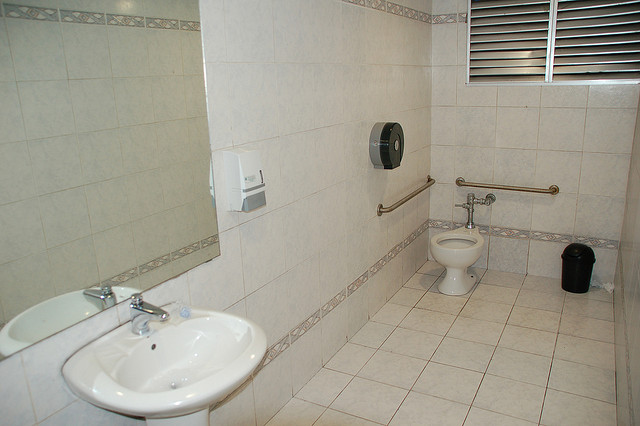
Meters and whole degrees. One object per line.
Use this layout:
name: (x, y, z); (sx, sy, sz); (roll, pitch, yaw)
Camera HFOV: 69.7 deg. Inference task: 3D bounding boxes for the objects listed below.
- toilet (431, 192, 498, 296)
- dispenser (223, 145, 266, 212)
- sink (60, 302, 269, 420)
toilet: (1.506, 0.314, 4.853); (0.504, 0.909, 0.860); (9, 20, 37)
dispenser: (-0.443, -0.192, 2.704); (0.231, 0.355, 0.155); (-6, 23, -12)
sink: (-0.665, 0.716, 2.212); (0.652, 0.270, 0.750); (10, 23, 24)
